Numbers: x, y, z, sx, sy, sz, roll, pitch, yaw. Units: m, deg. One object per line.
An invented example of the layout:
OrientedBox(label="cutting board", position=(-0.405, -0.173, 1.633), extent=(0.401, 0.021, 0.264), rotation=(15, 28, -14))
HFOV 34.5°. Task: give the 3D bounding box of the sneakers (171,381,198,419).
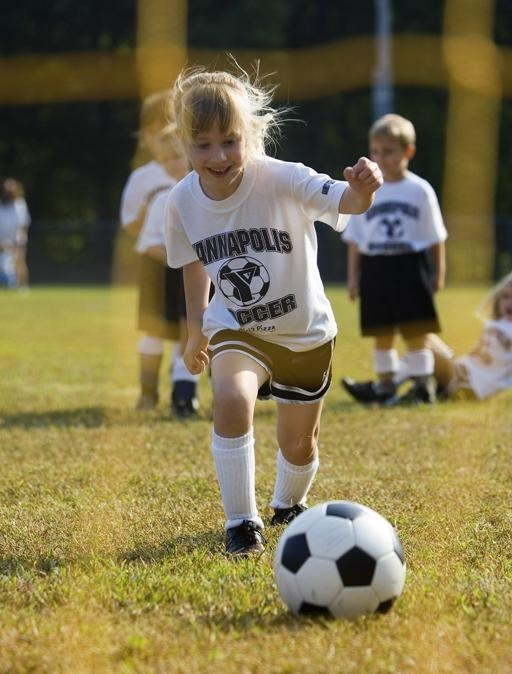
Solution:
OrientedBox(label="sneakers", position=(-0.355, 0.310, 4.130), extent=(0.121, 0.184, 0.191), rotation=(0, -8, 0))

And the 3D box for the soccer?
OrientedBox(label="soccer", position=(0.179, 0.484, 1.878), extent=(0.258, 0.222, 0.255), rotation=(-10, 21, -20))

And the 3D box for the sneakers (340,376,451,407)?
OrientedBox(label="sneakers", position=(0.739, 0.317, 4.366), extent=(0.524, 0.229, 0.169), rotation=(6, -10, 15))

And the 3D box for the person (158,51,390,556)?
OrientedBox(label="person", position=(0.021, -0.086, 2.265), extent=(0.529, 1.307, 0.544), rotation=(-1, 6, -7))

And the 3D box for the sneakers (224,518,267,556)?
OrientedBox(label="sneakers", position=(-0.030, 0.533, 2.197), extent=(0.098, 0.064, 0.121), rotation=(0, 6, 0))
